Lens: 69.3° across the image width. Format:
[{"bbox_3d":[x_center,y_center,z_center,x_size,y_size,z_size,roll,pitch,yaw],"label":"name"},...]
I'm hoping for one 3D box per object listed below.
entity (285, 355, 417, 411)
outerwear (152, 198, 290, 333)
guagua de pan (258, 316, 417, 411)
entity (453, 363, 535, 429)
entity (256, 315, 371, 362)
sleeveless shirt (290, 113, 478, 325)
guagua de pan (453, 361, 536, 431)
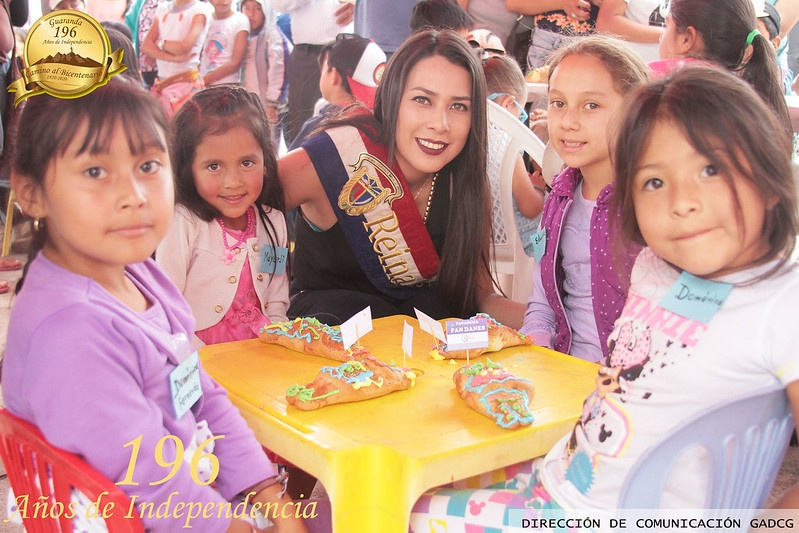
[{"bbox_3d":[-0.152,0.296,1.691,0.298,0.090,0.147,-11,16,-24],"label":"entity"},{"bbox_3d":[-0.720,-0.001,2.294,0.503,0.489,0.264,-3,26,-39],"label":"outerwear"},{"bbox_3d":[-0.207,0.268,1.820,0.226,0.085,0.363,-2,12,-27],"label":"guagua de pan"},{"bbox_3d":[0.261,0.352,1.629,0.122,0.065,0.194,-14,25,-22],"label":"entity"},{"bbox_3d":[-0.296,0.215,2.015,0.335,0.102,0.153,6,18,25],"label":"entity"},{"bbox_3d":[-0.041,-0.232,2.682,0.784,0.823,0.493,-6,40,-17],"label":"sleeveless shirt"},{"bbox_3d":[0.278,0.360,1.669,0.187,0.099,0.310,-5,19,-17],"label":"guagua de pan"}]
